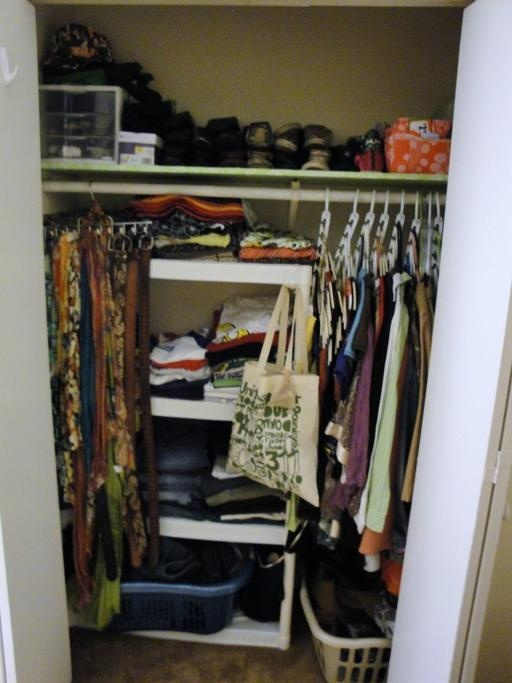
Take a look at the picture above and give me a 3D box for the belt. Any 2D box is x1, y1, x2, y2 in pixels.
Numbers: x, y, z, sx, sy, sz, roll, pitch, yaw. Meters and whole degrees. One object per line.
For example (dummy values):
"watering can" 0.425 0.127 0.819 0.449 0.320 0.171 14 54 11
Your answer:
"belt" -0.375 0.170 1.872 0.141 1.008 0.287 -1 15 -14

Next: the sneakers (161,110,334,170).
"sneakers" -0.031 -0.596 1.838 0.525 0.157 0.155 4 15 0

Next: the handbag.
"handbag" 0.057 0.141 1.648 0.218 0.541 0.277 -2 15 -17
